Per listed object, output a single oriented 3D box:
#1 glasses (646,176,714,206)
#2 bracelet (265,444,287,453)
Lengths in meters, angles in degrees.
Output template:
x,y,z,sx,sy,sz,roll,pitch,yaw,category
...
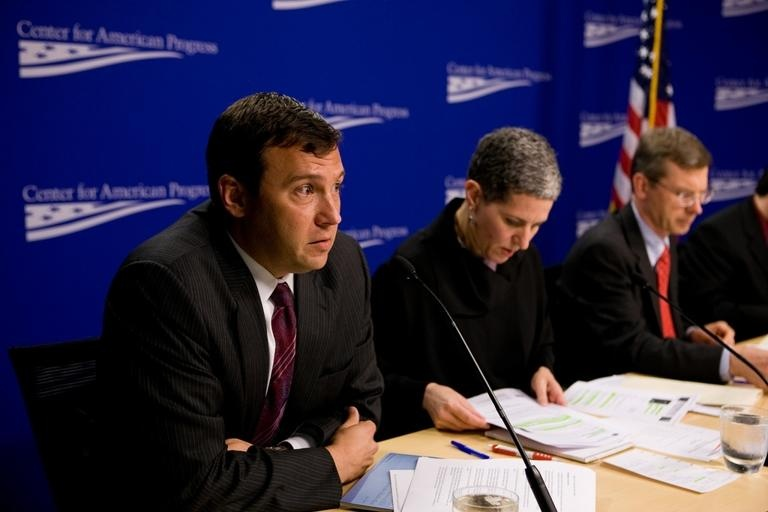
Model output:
x,y,z,sx,sy,sz,roll,pitch,yaw,category
1.502,-0.329,3.431,0.185,0.059,0.187,3,25,-48,glasses
-0.356,0.650,2.271,0.051,0.012,0.050,0,-2,5,bracelet
